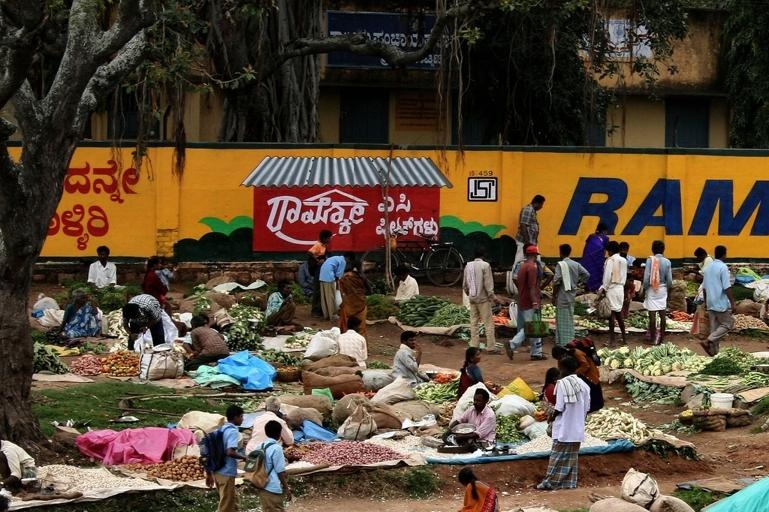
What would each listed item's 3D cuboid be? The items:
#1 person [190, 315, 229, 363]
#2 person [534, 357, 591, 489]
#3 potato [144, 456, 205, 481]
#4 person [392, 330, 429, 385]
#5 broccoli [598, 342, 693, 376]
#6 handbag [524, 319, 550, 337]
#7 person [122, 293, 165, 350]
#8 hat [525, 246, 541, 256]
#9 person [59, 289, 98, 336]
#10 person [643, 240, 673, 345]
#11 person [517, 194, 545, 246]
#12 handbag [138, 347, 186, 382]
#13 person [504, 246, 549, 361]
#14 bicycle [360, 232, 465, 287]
[{"bbox_3d":[-3.659,1.759,25.029,0.708,0.617,1.025,4,38,-26],"label":"person"},{"bbox_3d":[3.128,3.031,20.573,0.711,1.991,0.487,1,-1,7],"label":"person"},{"bbox_3d":[-3.569,3.673,20.607,0.556,0.174,0.586,0,6,-17],"label":"potato"},{"bbox_3d":[0.458,2.023,24.047,0.812,1.022,0.413,3,-2,-44],"label":"person"},{"bbox_3d":[5.422,2.131,24.683,0.951,0.408,1.040,-2,2,-32],"label":"broccoli"},{"bbox_3d":[3.226,1.531,25.471,0.397,0.361,0.151,-1,-2,-6],"label":"handbag"},{"bbox_3d":[-5.021,1.400,25.139,0.668,0.927,1.448,2,-32,2],"label":"person"},{"bbox_3d":[3.235,-0.093,25.982,0.219,0.176,0.336,9,12,38],"label":"hat"},{"bbox_3d":[-6.761,1.278,26.800,0.849,1.076,0.550,2,-1,-14],"label":"person"},{"bbox_3d":[5.994,0.810,26.359,0.552,2.258,0.730,1,-1,18],"label":"person"},{"bbox_3d":[3.785,-0.946,31.170,0.574,1.852,0.786,-1,23,-4],"label":"person"},{"bbox_3d":[-4.455,2.195,24.052,1.040,0.715,0.580,-1,7,-32],"label":"handbag"},{"bbox_3d":[3.102,0.999,26.040,0.802,2.438,1.269,1,-1,7],"label":"person"},{"bbox_3d":[0.751,0.101,32.097,2.552,1.425,1.216,1,-10,-2],"label":"bicycle"}]
